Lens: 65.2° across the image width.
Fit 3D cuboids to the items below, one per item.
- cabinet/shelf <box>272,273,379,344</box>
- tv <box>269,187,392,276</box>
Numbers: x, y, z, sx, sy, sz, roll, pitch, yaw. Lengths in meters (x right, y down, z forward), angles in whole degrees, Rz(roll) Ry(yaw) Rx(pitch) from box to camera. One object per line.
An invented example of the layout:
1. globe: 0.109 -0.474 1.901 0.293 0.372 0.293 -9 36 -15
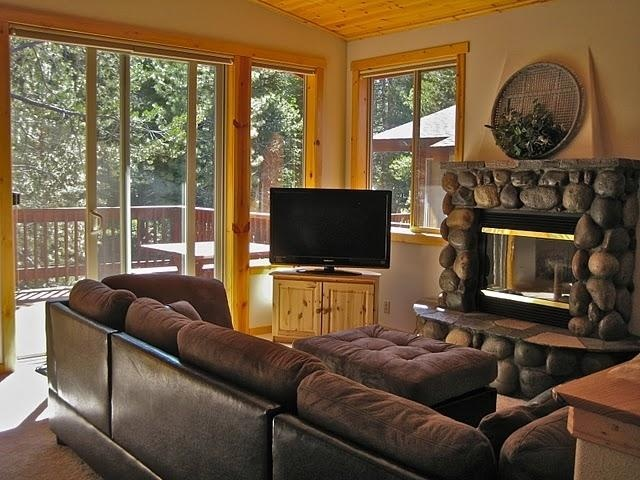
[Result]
1. cabinet/shelf: 0.020 0.727 4.949 0.974 0.713 0.385 4 -18 -3
2. tv: 0.090 -0.101 4.910 0.839 0.593 0.224 1 6 4
